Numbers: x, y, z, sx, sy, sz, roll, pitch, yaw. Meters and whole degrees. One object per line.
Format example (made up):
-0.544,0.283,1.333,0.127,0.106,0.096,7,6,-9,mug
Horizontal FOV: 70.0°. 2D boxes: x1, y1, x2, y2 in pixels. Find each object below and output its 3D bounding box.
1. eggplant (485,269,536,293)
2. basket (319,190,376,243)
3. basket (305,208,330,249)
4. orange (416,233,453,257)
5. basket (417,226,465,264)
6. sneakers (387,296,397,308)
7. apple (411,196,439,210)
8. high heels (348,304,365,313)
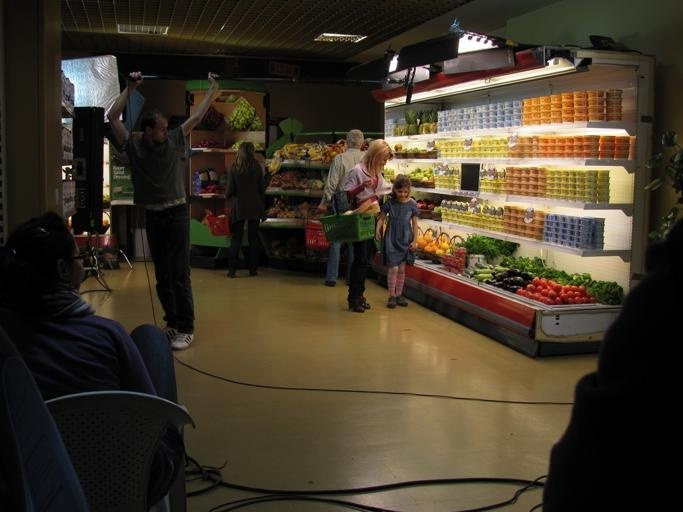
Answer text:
1.847,0.263,5.341,0.304,0.109,0.328,-8,9,12,eggplant
0.107,-0.398,5.889,0.619,0.298,0.430,-10,-5,33,basket
-0.460,-0.343,8.616,0.526,0.457,0.702,2,-3,-4,basket
1.354,-0.174,7.020,0.414,0.239,0.461,-1,8,-40,orange
1.368,-0.185,7.090,0.574,0.302,0.619,1,4,3,basket
0.646,0.588,6.237,0.129,0.116,0.287,-1,-6,3,sneakers
1.301,-0.826,7.489,0.391,0.122,0.382,0,0,-41,apple
0.181,0.641,6.015,0.185,0.120,0.090,1,7,5,high heels
